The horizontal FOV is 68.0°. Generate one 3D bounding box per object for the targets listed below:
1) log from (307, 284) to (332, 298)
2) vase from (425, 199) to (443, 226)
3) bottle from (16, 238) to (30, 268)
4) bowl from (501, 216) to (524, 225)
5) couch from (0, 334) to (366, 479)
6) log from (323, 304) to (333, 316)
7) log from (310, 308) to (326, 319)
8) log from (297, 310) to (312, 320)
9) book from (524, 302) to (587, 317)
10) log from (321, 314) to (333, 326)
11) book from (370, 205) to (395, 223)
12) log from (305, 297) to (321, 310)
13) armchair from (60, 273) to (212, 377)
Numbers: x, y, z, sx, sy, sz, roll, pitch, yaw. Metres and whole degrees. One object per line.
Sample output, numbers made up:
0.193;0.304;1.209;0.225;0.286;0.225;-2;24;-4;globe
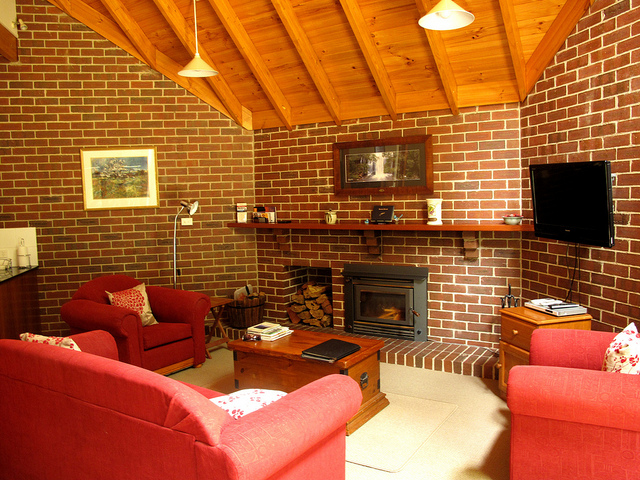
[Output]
-0.015;0.670;6.187;0.273;0.106;0.436;0;-1;13;log
1.238;-0.308;5.146;0.155;0.273;0.286;-1;13;12;vase
-3.459;0.151;5.524;0.127;0.306;0.278;-10;14;-22;bottle
1.922;-0.198;4.784;0.086;0.077;0.154;-14;16;-41;bowl
-0.773;0.989;2.799;1.392;0.445;0.591;1;2;29;couch
0.098;0.893;6.049;0.120;0.137;0.105;-3;13;1;log
-0.036;0.942;6.054;0.155;0.118;0.036;-18;2;13;log
-0.206;0.976;6.192;0.229;0.119;0.036;5;17;32;log
1.953;0.596;4.053;0.490;0.086;0.246;6;13;38;book
0.074;1.016;6.038;0.155;0.121;0.075;-23;7;-14;log
0.718;-0.307;5.490;0.262;0.190;0.257;1;12;18;book
-0.094;0.821;6.101;0.170;0.034;0.157;-16;27;-30;log
-1.968;0.873;4.987;1.380;0.749;1.286;0;9;-38;armchair
